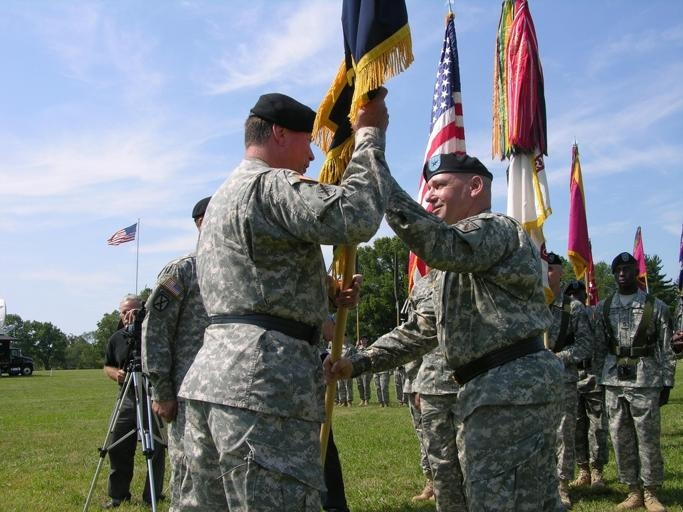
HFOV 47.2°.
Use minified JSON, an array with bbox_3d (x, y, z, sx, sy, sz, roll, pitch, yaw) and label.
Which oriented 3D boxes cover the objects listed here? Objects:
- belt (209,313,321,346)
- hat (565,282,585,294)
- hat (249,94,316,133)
[{"bbox_3d":[-0.607,0.575,6.196,0.850,0.254,0.211,-1,-11,-4],"label":"belt"},{"bbox_3d":[3.972,0.577,13.172,0.200,0.123,0.296,-3,-15,21],"label":"hat"},{"bbox_3d":[-0.470,-1.240,6.671,0.598,0.231,0.451,15,7,15],"label":"hat"}]
